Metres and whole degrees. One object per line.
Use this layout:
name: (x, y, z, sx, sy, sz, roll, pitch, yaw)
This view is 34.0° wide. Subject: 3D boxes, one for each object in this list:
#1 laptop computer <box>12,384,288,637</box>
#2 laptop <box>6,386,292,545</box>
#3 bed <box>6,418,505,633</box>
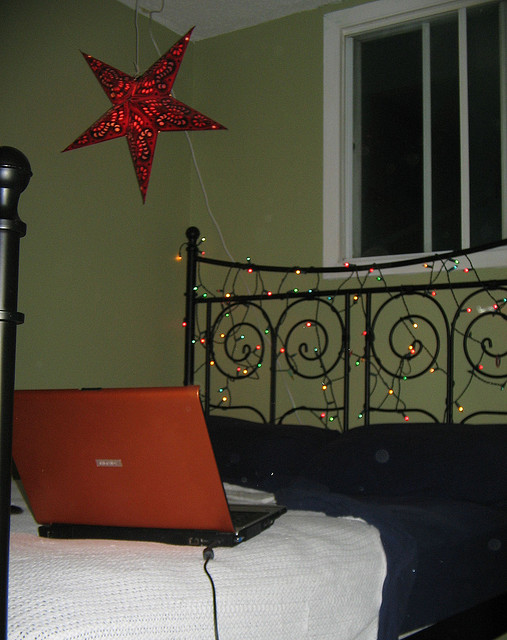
laptop computer: (-0.175, 0.330, 1.565, 0.458, 0.288, 0.411, -1, -7, 24)
laptop: (-0.211, 0.262, 1.503, 0.385, 0.258, 0.344, -4, -5, 25)
bed: (0.091, 0.414, 1.757, 0.666, 0.336, 0.871, -8, -30, 35)
